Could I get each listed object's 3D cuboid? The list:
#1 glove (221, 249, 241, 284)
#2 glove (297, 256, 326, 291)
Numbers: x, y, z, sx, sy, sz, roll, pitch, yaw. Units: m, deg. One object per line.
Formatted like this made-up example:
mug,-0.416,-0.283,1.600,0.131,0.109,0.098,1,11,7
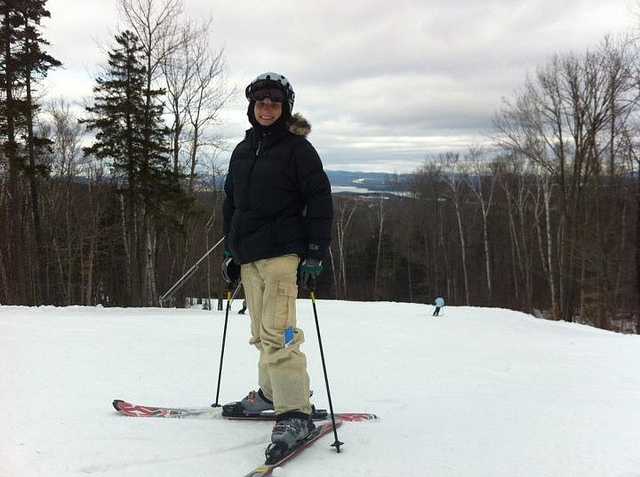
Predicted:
glove,-2.086,0.649,17.451,0.397,0.739,0.443,-2,0,-12
glove,-0.240,0.747,17.186,0.607,0.853,0.784,0,-15,4
